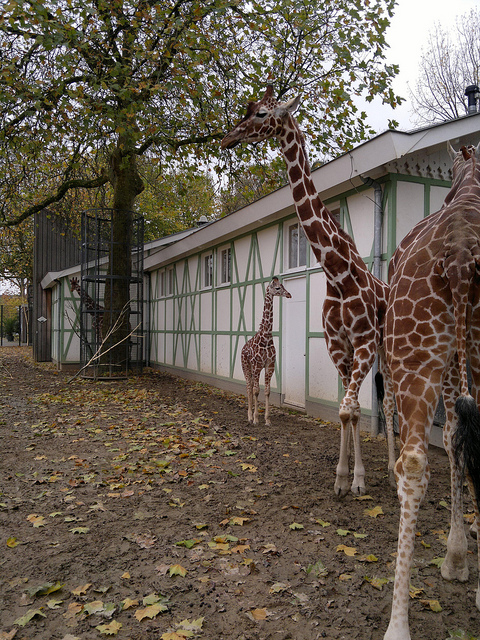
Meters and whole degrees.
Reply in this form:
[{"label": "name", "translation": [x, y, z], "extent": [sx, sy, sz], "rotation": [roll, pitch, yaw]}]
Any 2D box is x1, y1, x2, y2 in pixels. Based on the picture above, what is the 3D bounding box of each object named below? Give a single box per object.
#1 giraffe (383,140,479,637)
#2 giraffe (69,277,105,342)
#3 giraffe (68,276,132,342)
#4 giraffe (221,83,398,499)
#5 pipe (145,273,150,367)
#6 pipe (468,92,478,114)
[{"label": "giraffe", "translation": [0.967, 0.284, 3.064], "extent": [0.494, 2.202, 0.955], "rotation": [0, 1, 14]}, {"label": "giraffe", "translation": [-3.141, -0.212, 13.362], "extent": [0.731, 1.555, 0.305], "rotation": [-9, 41, -9]}, {"label": "giraffe", "translation": [-3.307, -0.192, 13.509], "extent": [0.677, 1.391, 3.815], "rotation": [-1, 2, -15]}, {"label": "giraffe", "translation": [0.645, -0.230, 4.688], "extent": [1.341, 3.040, 0.813], "rotation": [-1, 1, -15]}, {"label": "pipe", "translation": [-2.573, 0.043, 17.466], "extent": [0.107, 2.596, 0.491], "rotation": [-1, 1, -16]}, {"label": "pipe", "translation": [2.705, -2.528, 7.245], "extent": [0.081, 0.292, 0.304], "rotation": [0, 2, 19]}]
